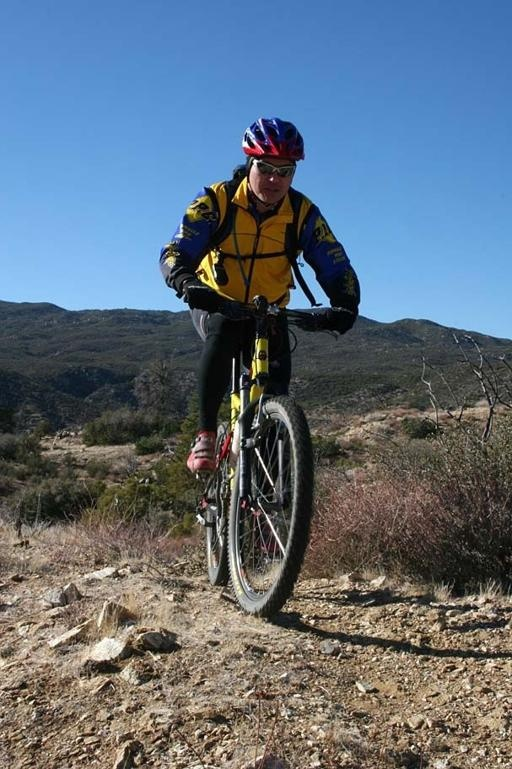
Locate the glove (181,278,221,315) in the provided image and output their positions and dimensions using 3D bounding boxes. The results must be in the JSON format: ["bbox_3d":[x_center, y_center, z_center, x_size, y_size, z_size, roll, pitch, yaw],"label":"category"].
[{"bbox_3d":[-0.309,-0.463,3.419,0.170,0.191,0.249,-2,-3,-35],"label":"glove"}]

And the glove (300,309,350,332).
[{"bbox_3d":[0.394,-0.355,3.707,0.195,0.087,0.159,6,1,-4],"label":"glove"}]

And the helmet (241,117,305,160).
[{"bbox_3d":[0.072,-1.356,3.658,0.344,0.272,0.159,-4,-2,18],"label":"helmet"}]

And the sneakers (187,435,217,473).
[{"bbox_3d":[-0.308,0.397,3.836,0.133,0.251,0.235,5,0,-7],"label":"sneakers"}]

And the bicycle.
[{"bbox_3d":[-0.079,0.317,4.018,0.829,1.523,2.422,3,-1,-14],"label":"bicycle"}]

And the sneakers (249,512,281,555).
[{"bbox_3d":[0.043,0.788,3.403,0.081,0.236,0.166,-35,-24,23],"label":"sneakers"}]
